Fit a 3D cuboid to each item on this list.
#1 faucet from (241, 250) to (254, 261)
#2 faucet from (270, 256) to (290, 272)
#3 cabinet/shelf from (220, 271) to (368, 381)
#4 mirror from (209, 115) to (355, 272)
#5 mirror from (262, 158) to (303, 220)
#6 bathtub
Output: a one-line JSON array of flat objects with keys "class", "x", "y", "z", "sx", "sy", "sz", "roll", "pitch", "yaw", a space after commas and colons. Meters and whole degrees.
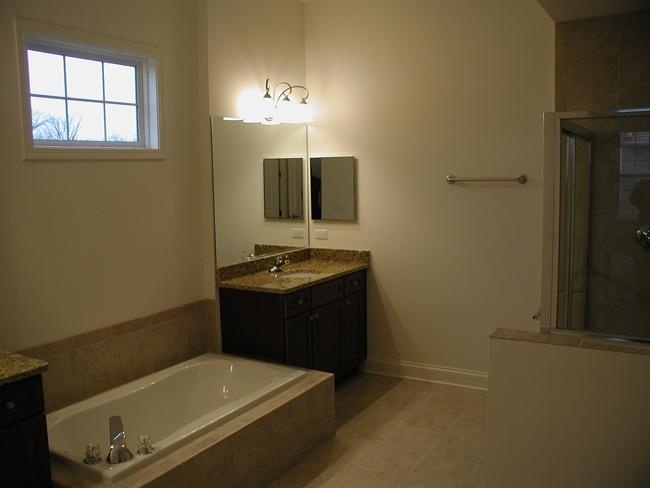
[{"class": "faucet", "x": -0.669, "y": 0.116, "z": 4.127, "sx": 0.035, "sy": 0.063, "sz": 0.139, "roll": 1, "pitch": 0, "yaw": 17}, {"class": "faucet", "x": -0.414, "y": 0.182, "z": 4.404, "sx": 0.069, "sy": 0.137, "sz": 0.221, "roll": 4, "pitch": 14, "yaw": 23}, {"class": "cabinet/shelf", "x": -0.204, "y": 0.765, "z": 4.346, "sx": 0.687, "sy": 1.116, "sz": 1.318, "roll": 3, "pitch": 9, "yaw": 36}, {"class": "mirror", "x": -0.399, "y": -0.478, "z": 4.315, "sx": 0.058, "sy": 1.427, "sz": 1.240, "roll": 3, "pitch": 6, "yaw": 32}, {"class": "mirror", "x": -0.391, "y": -0.506, "z": 4.459, "sx": 0.363, "sy": 0.564, "sz": 0.020, "roll": -1, "pitch": 7, "yaw": 7}, {"class": "bathtub", "x": -0.942, "y": 1.123, "z": 3.091, "sx": 0.852, "sy": 0.359, "sz": 1.490, "roll": 6, "pitch": 11, "yaw": 39}]
